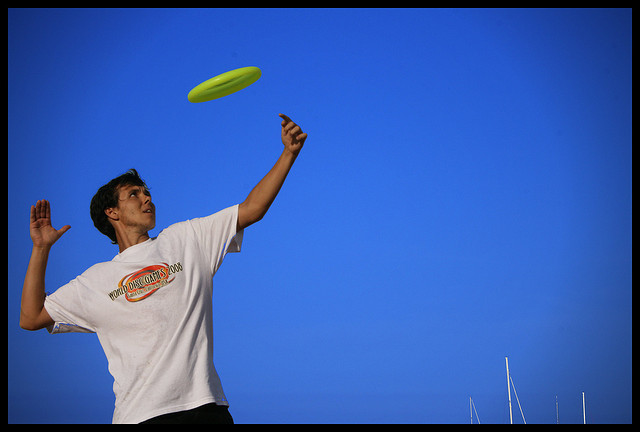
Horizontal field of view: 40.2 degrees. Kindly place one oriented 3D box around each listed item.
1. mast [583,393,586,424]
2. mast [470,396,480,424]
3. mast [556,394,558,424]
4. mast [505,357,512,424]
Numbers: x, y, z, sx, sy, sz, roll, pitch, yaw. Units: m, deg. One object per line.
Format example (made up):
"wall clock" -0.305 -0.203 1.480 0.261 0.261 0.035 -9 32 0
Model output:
"mast" 1.656 1.216 5.494 0.018 0.154 0.018 7 -8 -26
"mast" 0.940 1.188 5.315 0.058 0.148 0.298 2 -8 12
"mast" 1.482 1.220 5.494 0.009 0.138 0.023 0 -8 28
"mast" 1.167 1.077 5.412 0.049 0.393 0.151 2 -8 12
